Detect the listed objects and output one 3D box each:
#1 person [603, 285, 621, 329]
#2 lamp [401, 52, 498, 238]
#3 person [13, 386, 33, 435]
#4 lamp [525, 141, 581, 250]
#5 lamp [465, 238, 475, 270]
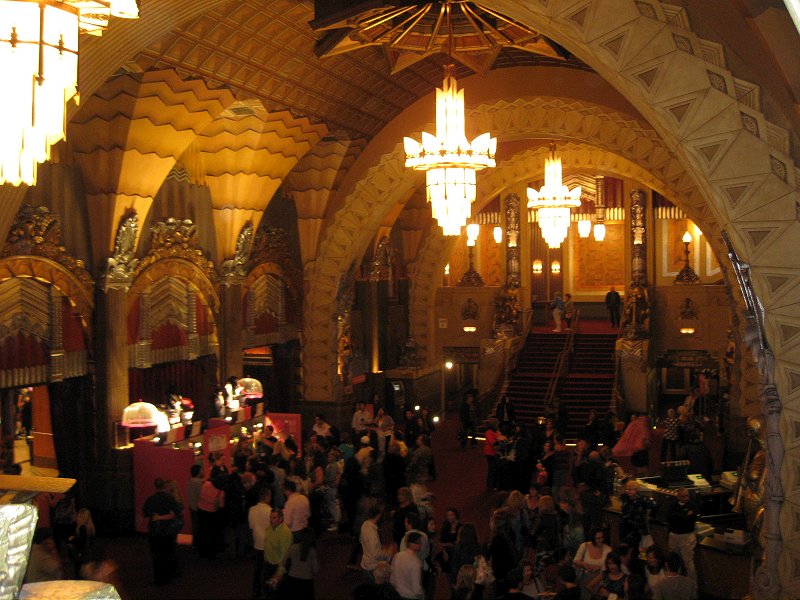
[{"bbox_3d":[7.390,0.283,26.550,0.439,1.430,1.471,-3,-5,14],"label":"person"},{"bbox_3d":[0.710,-2.087,10.776,1.251,2.231,0.484,-1,-6,-1],"label":"lamp"},{"bbox_3d":[-6.975,2.110,14.321,0.148,0.886,0.458,-2,-5,4],"label":"person"},{"bbox_3d":[3.377,-2.255,16.815,1.688,2.228,1.634,-4,8,-19],"label":"lamp"},{"bbox_3d":[2.713,-1.609,28.596,0.339,1.022,0.742,-2,-5,5],"label":"lamp"}]
